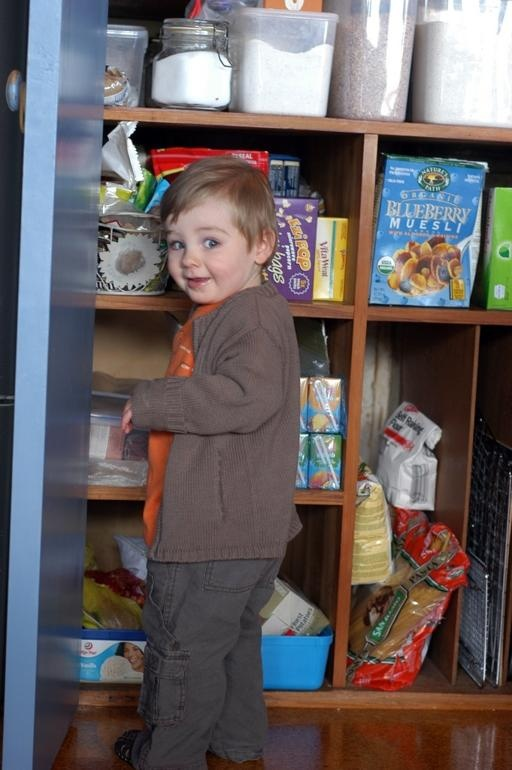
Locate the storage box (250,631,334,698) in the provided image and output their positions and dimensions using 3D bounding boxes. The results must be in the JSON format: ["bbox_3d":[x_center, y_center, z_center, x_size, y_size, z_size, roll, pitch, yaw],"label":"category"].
[{"bbox_3d":[0.068,0.534,1.255,0.153,0.099,0.106,-1,-2,2],"label":"storage box"}]

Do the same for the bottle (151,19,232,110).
[{"bbox_3d":[-0.097,-0.544,1.174,0.163,0.161,0.142,0,7,-1],"label":"bottle"}]

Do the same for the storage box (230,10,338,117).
[{"bbox_3d":[0.054,-0.552,1.192,0.156,0.145,0.194,1,3,-5],"label":"storage box"}]
